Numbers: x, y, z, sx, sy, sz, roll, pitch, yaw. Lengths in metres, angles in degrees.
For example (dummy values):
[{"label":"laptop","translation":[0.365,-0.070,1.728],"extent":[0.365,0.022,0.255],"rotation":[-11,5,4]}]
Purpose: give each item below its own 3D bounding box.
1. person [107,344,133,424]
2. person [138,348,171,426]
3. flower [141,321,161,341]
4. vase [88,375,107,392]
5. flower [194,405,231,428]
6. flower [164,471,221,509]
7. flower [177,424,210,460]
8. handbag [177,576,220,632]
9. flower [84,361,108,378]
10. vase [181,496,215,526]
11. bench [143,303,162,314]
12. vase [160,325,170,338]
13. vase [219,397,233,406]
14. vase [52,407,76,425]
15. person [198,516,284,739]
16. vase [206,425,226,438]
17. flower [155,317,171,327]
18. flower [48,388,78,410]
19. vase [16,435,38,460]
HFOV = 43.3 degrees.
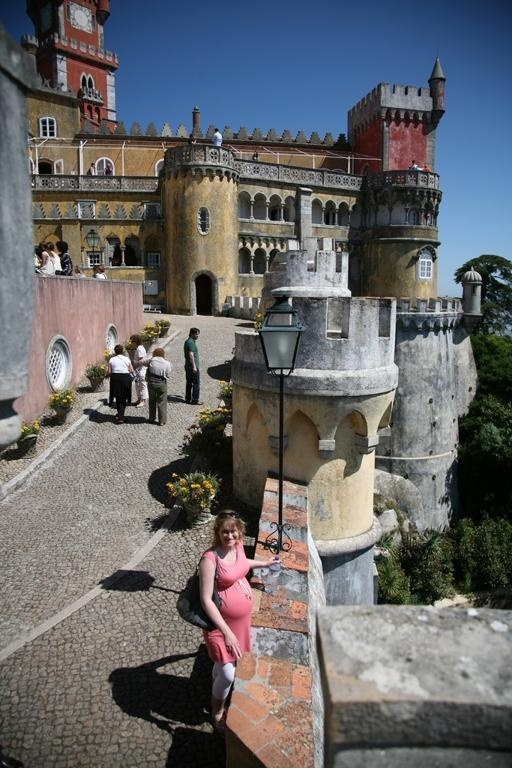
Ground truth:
[{"label":"person","translation":[-2.447,0.077,11.682],"extent":[0.380,1.322,0.520],"rotation":[-1,11,-12]},{"label":"person","translation":[-1.807,0.005,11.827],"extent":[0.454,1.488,0.411],"rotation":[3,20,-3]},{"label":"flower","translation":[-3.135,-1.521,19.023],"extent":[0.523,0.398,0.858],"rotation":[-1,12,-6]},{"label":"vase","translation":[-3.413,-0.019,13.982],"extent":[0.293,0.268,0.322],"rotation":[-1,1,20]},{"label":"flower","translation":[-0.736,0.594,11.357],"extent":[0.381,0.264,0.432],"rotation":[-1,4,-11]},{"label":"flower","translation":[-0.770,1.335,8.263],"extent":[0.507,0.412,0.535],"rotation":[6,1,18]},{"label":"flower","translation":[-0.993,0.963,10.874],"extent":[0.456,0.563,0.463],"rotation":[-12,5,-43]},{"label":"handbag","translation":[-0.413,1.434,4.291],"extent":[0.202,0.354,0.342],"rotation":[-2,12,-19]},{"label":"flower","translation":[-3.435,-0.265,14.009],"extent":[0.466,0.419,0.491],"rotation":[-1,8,-6]},{"label":"vase","translation":[-0.724,1.607,8.222],"extent":[0.286,0.285,0.294],"rotation":[0,6,1]},{"label":"bench","translation":[-5.165,-3.875,32.465],"extent":[0.882,0.368,0.600],"rotation":[-1,12,-15]},{"label":"vase","translation":[-3.098,-1.827,22.077],"extent":[0.377,0.326,0.408],"rotation":[-1,-5,0]},{"label":"vase","translation":[-0.627,0.387,13.622],"extent":[0.264,0.228,0.287],"rotation":[2,1,4]},{"label":"vase","translation":[-3.481,0.550,11.552],"extent":[0.299,0.347,0.311],"rotation":[7,-1,15]},{"label":"person","translation":[-0.208,1.659,4.507],"extent":[0.349,1.621,0.752],"rotation":[2,11,3]},{"label":"vase","translation":[-0.668,0.807,10.856],"extent":[0.183,0.156,0.192],"rotation":[7,8,31]},{"label":"flower","translation":[-3.135,-2.073,21.771],"extent":[0.418,0.333,0.453],"rotation":[0,-1,0]},{"label":"flower","translation":[-3.442,0.283,11.512],"extent":[0.387,0.315,0.406],"rotation":[0,-1,-13]},{"label":"vase","translation":[-3.511,0.946,9.926],"extent":[0.287,0.368,0.335],"rotation":[8,0,8]}]
